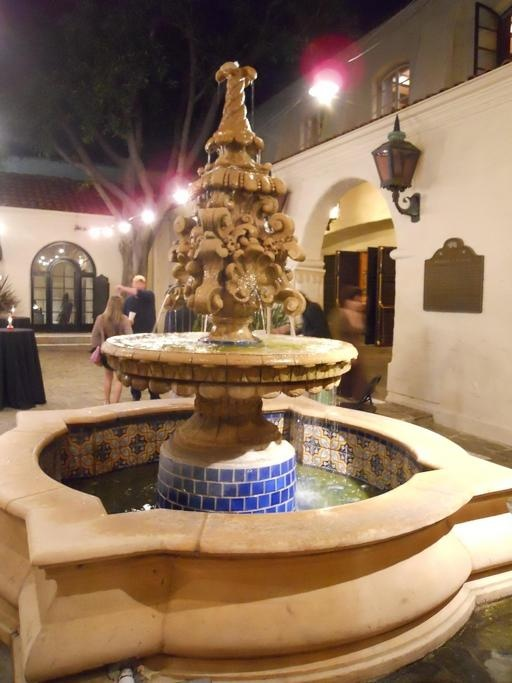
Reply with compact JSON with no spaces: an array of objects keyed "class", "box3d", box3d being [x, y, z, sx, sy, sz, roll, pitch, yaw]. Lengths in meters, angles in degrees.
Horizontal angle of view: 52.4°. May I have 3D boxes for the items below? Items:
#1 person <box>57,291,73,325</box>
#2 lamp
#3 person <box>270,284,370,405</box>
[{"class":"person","box3d":[-5.676,-0.949,15.444,0.161,0.926,0.443,7,7,40]},{"class":"lamp","box3d":[1.733,-2.139,6.351,0.517,1.232,0.459,1,5,-10]},{"class":"person","box3d":[0.969,0.086,6.118,0.717,1.400,1.472,3,6,13]}]
